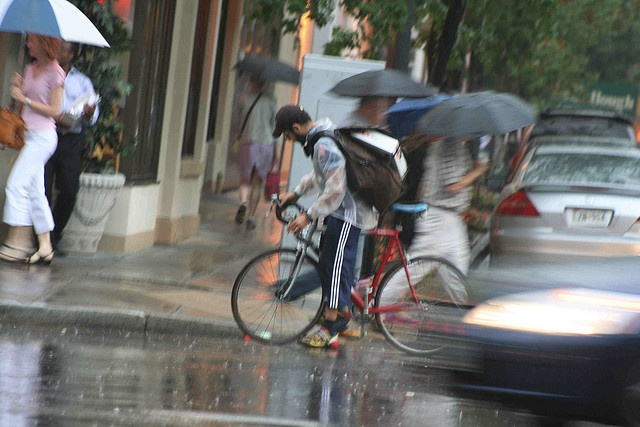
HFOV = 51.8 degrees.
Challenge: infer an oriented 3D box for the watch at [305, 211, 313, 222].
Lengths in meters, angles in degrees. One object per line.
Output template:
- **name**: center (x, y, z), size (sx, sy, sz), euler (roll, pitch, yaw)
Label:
- **watch**: center (-0.116, 0.029, 6.217), size (0.051, 0.083, 0.017), euler (14, 41, 45)

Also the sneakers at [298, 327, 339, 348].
- **sneakers**: center (0.016, 1.247, 6.526), size (0.313, 0.183, 0.191), euler (6, -4, -10)

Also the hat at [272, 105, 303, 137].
- **hat**: center (-0.309, -0.918, 6.458), size (0.274, 0.160, 0.218), euler (-31, 31, 18)

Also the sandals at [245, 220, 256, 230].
- **sandals**: center (-1.194, 0.167, 11.319), size (0.116, 0.194, 0.175), euler (3, 34, 2)

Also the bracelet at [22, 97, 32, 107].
- **bracelet**: center (-3.313, -1.268, 7.470), size (0.070, 0.086, 0.018), euler (6, -12, -14)
